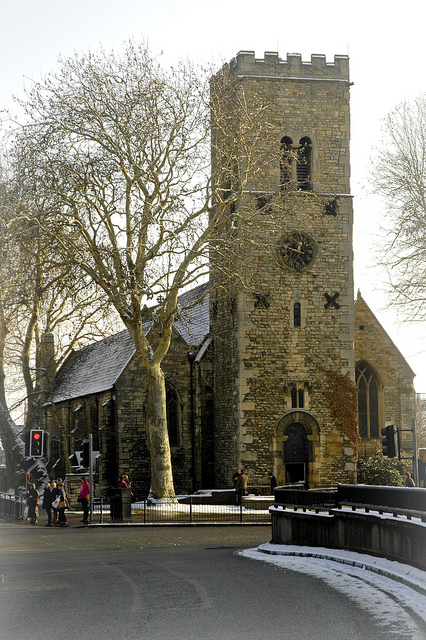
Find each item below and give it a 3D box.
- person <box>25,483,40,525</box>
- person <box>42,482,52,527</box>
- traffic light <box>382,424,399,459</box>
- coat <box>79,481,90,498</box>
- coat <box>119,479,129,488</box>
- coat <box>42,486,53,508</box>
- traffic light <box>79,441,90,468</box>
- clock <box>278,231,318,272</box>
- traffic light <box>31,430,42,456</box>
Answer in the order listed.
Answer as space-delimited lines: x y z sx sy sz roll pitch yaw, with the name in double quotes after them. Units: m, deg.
-6.414 6.553 29.435 0.386 1.398 1.247 3 -11 -14 "person"
-5.589 6.262 28.061 0.302 1.440 1.077 2 -11 -11 "person"
3.615 2.469 17.000 0.288 0.679 1.181 -2 -11 13 "traffic light"
-4.469 5.968 28.810 0.269 0.530 0.618 2 -11 -9 "coat"
-3.318 6.085 30.503 0.108 0.317 0.319 -1 29 -29 "coat"
-5.620 6.051 28.218 0.270 0.720 0.512 3 -11 -12 "coat"
-4.345 4.534 27.974 0.288 0.825 0.861 3 -11 -14 "traffic light"
3.570 -2.950 35.264 1.336 1.944 0.872 1 -6 -38 "clock"
-6.012 4.198 28.174 0.308 0.837 0.559 1 -11 -6 "traffic light"
